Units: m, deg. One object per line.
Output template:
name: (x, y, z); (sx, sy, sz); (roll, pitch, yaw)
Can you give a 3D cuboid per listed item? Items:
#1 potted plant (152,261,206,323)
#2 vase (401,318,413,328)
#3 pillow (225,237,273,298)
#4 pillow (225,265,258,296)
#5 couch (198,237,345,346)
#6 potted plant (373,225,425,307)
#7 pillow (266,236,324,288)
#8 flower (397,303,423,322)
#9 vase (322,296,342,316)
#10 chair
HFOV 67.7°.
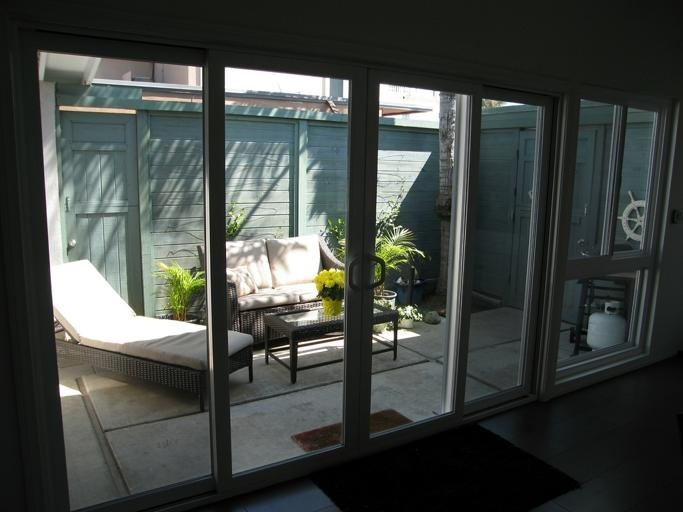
potted plant: (-1.613, 0.373, 4.947); (0.460, 0.474, 0.496); (-10, -15, 44)
vase: (0.668, 0.694, 5.243); (0.132, 0.078, 0.129); (-3, 8, -3)
pillow: (-0.910, 0.099, 4.845); (0.507, 0.456, 0.232); (-6, -3, -40)
pillow: (-0.890, 0.224, 4.573); (0.113, 0.280, 0.285); (-35, -12, 27)
couch: (-0.582, 0.325, 4.900); (1.406, 0.896, 0.616); (-5, 11, -41)
potted plant: (0.623, 0.107, 5.049); (0.359, 0.936, 1.321); (0, 9, 14)
pillow: (-0.499, 0.055, 5.079); (0.704, 0.476, 0.256); (-4, 15, -41)
flower: (0.738, 0.597, 5.394); (0.252, 0.134, 0.244); (4, 7, -8)
vase: (-0.065, 0.429, 4.341); (0.147, 0.119, 0.158); (4, 2, 33)
chair: (-1.631, 0.591, 3.906); (1.332, 0.517, 0.430); (11, 3, 3)
